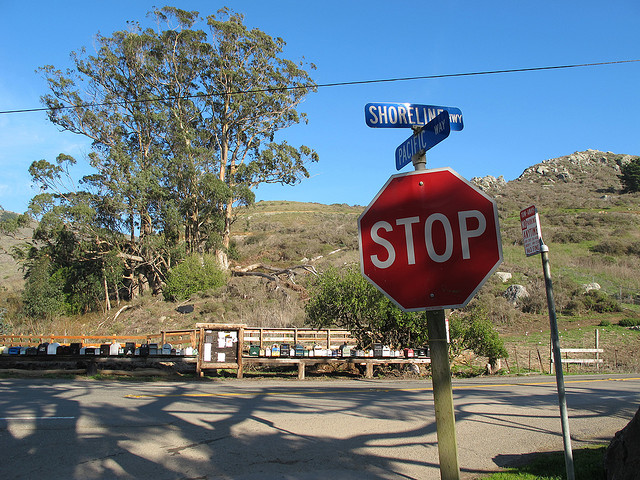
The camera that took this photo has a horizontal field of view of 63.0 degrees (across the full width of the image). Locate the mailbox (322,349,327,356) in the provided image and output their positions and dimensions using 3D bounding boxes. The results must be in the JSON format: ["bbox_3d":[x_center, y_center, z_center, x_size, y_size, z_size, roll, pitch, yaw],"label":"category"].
[{"bbox_3d":[0.162,4.407,20.463,0.234,0.350,0.181,2,20,1],"label":"mailbox"}]

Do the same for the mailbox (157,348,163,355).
[{"bbox_3d":[-6.089,4.213,19.795,0.180,0.200,0.174,2,4,-5],"label":"mailbox"}]

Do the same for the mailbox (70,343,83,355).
[{"bbox_3d":[-9.107,4.038,19.535,0.378,0.409,0.389,3,8,0],"label":"mailbox"}]

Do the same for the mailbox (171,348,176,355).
[{"bbox_3d":[-5.635,4.280,20.006,0.127,0.184,0.148,1,-21,-3],"label":"mailbox"}]

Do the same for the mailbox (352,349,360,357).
[{"bbox_3d":[1.460,4.495,20.668,0.182,0.271,0.354,-1,-7,7],"label":"mailbox"}]

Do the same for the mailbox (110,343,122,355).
[{"bbox_3d":[-7.752,4.094,19.703,0.382,0.409,0.306,9,-15,-40],"label":"mailbox"}]

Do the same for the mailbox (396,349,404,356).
[{"bbox_3d":[3.243,4.571,21.261,0.335,0.373,0.200,-6,-7,7],"label":"mailbox"}]

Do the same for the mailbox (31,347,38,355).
[{"bbox_3d":[-10.639,4.133,19.455,0.273,0.296,0.201,2,-6,-11],"label":"mailbox"}]

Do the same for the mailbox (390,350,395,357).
[{"bbox_3d":[2.868,4.504,20.836,0.186,0.374,0.192,-1,0,-12],"label":"mailbox"}]

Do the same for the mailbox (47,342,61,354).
[{"bbox_3d":[-9.952,4.001,19.493,0.299,0.425,0.435,-1,-5,-2],"label":"mailbox"}]

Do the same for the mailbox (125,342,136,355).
[{"bbox_3d":[-7.200,4.080,19.718,0.367,0.445,0.319,4,-9,-22],"label":"mailbox"}]

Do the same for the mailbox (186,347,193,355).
[{"bbox_3d":[-5.038,4.253,20.019,0.226,0.281,0.236,2,-8,-12],"label":"mailbox"}]

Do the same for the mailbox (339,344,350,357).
[{"bbox_3d":[0.967,4.306,20.430,0.305,0.439,0.423,1,-8,1],"label":"mailbox"}]

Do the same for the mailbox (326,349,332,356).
[{"bbox_3d":[0.350,4.421,20.493,0.177,0.367,0.187,1,-9,3],"label":"mailbox"}]

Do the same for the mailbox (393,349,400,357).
[{"bbox_3d":[3.076,4.524,20.957,0.217,0.241,0.240,-1,-4,-3],"label":"mailbox"}]

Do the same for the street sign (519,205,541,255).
[{"bbox_3d":[3.399,-0.173,8.428,0.210,0.805,0.559,2,-8,-7],"label":"street sign"}]

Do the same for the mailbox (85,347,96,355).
[{"bbox_3d":[-8.534,4.091,19.315,0.341,0.268,0.250,2,5,-9],"label":"mailbox"}]

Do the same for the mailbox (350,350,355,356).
[{"bbox_3d":[1.283,4.440,20.630,0.210,0.212,0.129,1,-47,-1],"label":"mailbox"}]

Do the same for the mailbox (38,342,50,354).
[{"bbox_3d":[-10.395,4.037,19.559,0.306,0.445,0.431,4,-10,-22],"label":"mailbox"}]

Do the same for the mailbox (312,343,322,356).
[{"bbox_3d":[-0.114,4.340,20.695,0.305,0.504,0.429,3,-17,-2],"label":"mailbox"}]

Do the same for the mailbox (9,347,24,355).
[{"bbox_3d":[-11.378,4.111,19.407,0.389,0.259,0.183,4,-9,-18],"label":"mailbox"}]

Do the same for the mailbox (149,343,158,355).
[{"bbox_3d":[-6.359,4.143,19.913,0.348,0.553,0.368,0,-3,2],"label":"mailbox"}]

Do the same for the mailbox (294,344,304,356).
[{"bbox_3d":[-0.830,4.274,20.537,0.301,0.505,0.505,2,-16,0],"label":"mailbox"}]

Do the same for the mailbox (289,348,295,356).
[{"bbox_3d":[-1.120,4.390,20.444,0.223,0.418,0.230,4,-8,-17],"label":"mailbox"}]

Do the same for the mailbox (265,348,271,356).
[{"bbox_3d":[-2.044,4.357,20.332,0.223,0.267,0.139,2,-8,-4],"label":"mailbox"}]

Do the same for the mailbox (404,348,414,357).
[{"bbox_3d":[3.581,4.544,21.086,0.239,0.355,0.358,-3,-6,24],"label":"mailbox"}]

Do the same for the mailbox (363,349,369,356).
[{"bbox_3d":[1.846,4.485,20.845,0.174,0.353,0.184,-2,2,-2],"label":"mailbox"}]

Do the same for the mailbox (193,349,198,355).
[{"bbox_3d":[-4.952,4.391,20.564,0.221,0.254,0.215,1,-7,5],"label":"mailbox"}]

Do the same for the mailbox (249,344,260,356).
[{"bbox_3d":[-2.610,4.356,20.663,0.415,0.441,0.359,0,-10,-3],"label":"mailbox"}]

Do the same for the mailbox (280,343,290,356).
[{"bbox_3d":[-1.406,4.323,20.578,0.370,0.423,0.481,2,-9,-5],"label":"mailbox"}]

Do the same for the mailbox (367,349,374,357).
[{"bbox_3d":[2.034,4.515,20.854,0.180,0.261,0.265,2,-9,-6],"label":"mailbox"}]

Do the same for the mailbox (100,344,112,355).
[{"bbox_3d":[-8.096,4.091,19.590,0.334,0.366,0.170,7,-10,-34],"label":"mailbox"}]

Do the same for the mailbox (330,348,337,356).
[{"bbox_3d":[0.534,4.467,20.773,0.186,0.378,0.195,0,-7,-6],"label":"mailbox"}]

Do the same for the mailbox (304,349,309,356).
[{"bbox_3d":[-0.567,4.404,20.530,0.248,0.265,0.144,1,-19,-6],"label":"mailbox"}]

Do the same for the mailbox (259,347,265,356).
[{"bbox_3d":[-2.313,4.407,20.560,0.185,0.260,0.443,3,-9,-14],"label":"mailbox"}]

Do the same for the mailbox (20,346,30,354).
[{"bbox_3d":[-11.126,4.126,19.597,0.258,0.179,0.260,-2,-1,2],"label":"mailbox"}]

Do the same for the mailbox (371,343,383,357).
[{"bbox_3d":[2.277,4.381,20.993,0.428,0.454,0.398,10,-16,-41],"label":"mailbox"}]
